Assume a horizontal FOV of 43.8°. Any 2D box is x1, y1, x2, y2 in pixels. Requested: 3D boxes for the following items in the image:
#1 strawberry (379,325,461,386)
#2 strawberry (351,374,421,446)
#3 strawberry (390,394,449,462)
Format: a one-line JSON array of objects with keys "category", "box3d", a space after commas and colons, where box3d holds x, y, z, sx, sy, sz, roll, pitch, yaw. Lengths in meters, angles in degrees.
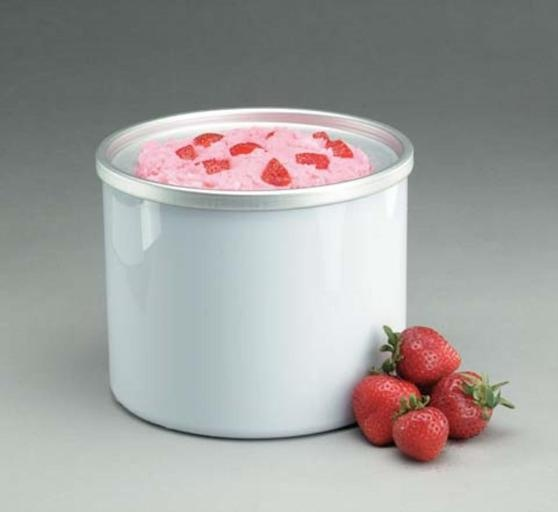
[{"category": "strawberry", "box3d": [0.334, 0.223, 1.622, 0.206, 0.137, 0.123, 1, 63, -17]}, {"category": "strawberry", "box3d": [0.228, 0.314, 1.536, 0.179, 0.144, 0.158, 5, 15, 11]}, {"category": "strawberry", "box3d": [0.292, 0.355, 1.430, 0.113, 0.162, 0.074, 3, 26, 11]}]
